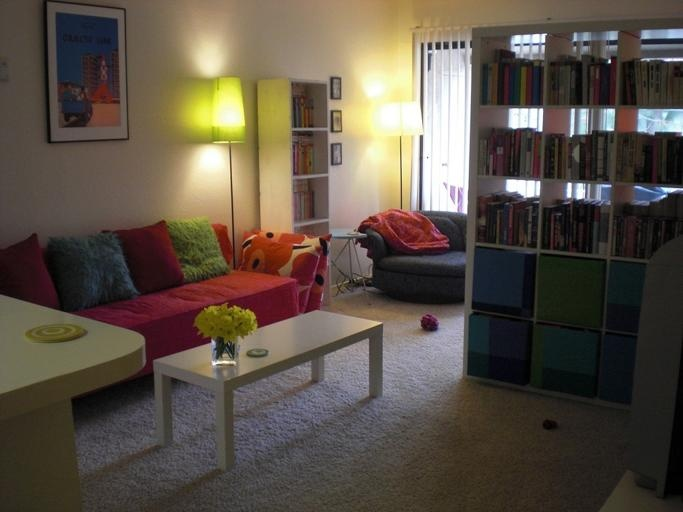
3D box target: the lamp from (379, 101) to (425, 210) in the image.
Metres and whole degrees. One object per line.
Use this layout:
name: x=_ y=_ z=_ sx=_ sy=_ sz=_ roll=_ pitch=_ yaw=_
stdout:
lamp: x=0.700 y=-1.192 z=6.716 sx=0.531 sy=1.318 sz=0.563 roll=1 pitch=12 yaw=5

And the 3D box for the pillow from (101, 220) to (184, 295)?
pillow: x=-1.503 y=0.013 z=4.341 sx=0.492 sy=0.528 sz=0.224 roll=-15 pitch=-4 yaw=-41

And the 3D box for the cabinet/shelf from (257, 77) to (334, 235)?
cabinet/shelf: x=-0.493 y=-0.959 z=5.565 sx=0.468 sy=1.558 sz=0.731 roll=8 pitch=15 yaw=35

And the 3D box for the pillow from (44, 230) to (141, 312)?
pillow: x=-1.815 y=0.081 z=3.954 sx=0.174 sy=0.575 sz=0.552 roll=-24 pitch=-4 yaw=36

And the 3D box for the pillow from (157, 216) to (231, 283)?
pillow: x=-1.252 y=-0.066 z=4.714 sx=0.158 sy=0.536 sz=0.503 roll=-21 pitch=-2 yaw=35

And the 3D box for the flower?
flower: x=-0.643 y=0.407 z=3.171 sx=0.333 sy=0.373 sz=0.332 roll=1 pitch=1 yaw=0

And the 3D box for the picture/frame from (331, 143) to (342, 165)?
picture/frame: x=-0.066 y=-1.142 z=6.154 sx=0.040 sy=0.261 sz=0.211 roll=2 pitch=9 yaw=31

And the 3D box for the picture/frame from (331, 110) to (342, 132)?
picture/frame: x=-0.067 y=-1.496 z=6.100 sx=0.043 sy=0.274 sz=0.228 roll=2 pitch=7 yaw=32

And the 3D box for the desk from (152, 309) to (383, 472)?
desk: x=-0.427 y=0.782 z=3.503 sx=1.433 sy=0.512 sz=0.589 roll=-12 pitch=17 yaw=-39

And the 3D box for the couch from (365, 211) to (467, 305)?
couch: x=0.915 y=0.121 z=6.021 sx=1.104 sy=0.874 sz=0.916 roll=2 pitch=4 yaw=21

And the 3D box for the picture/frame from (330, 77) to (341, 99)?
picture/frame: x=-0.073 y=-1.856 z=6.065 sx=0.033 sy=0.268 sz=0.229 roll=0 pitch=3 yaw=34
